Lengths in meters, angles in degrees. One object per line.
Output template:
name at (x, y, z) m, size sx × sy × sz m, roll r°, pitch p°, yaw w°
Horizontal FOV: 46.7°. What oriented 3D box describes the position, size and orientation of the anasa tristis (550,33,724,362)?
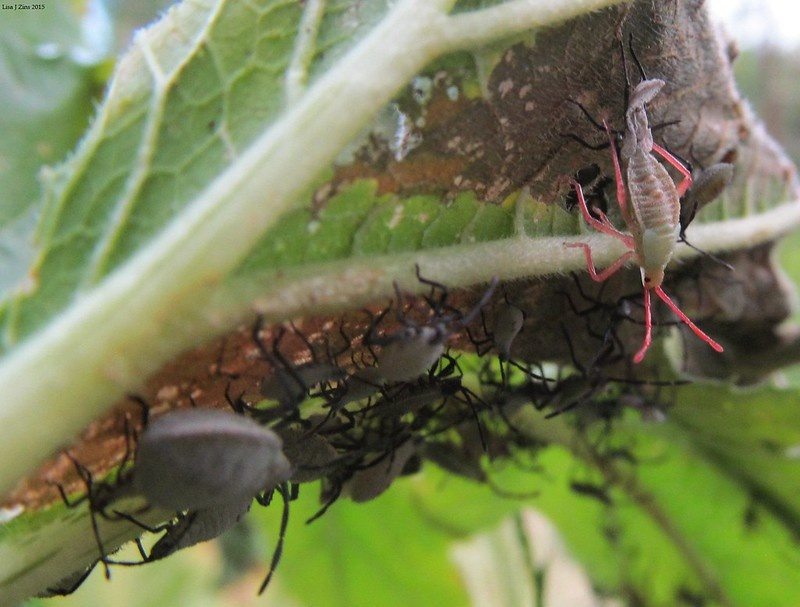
anasa tristis at (0.444, -0.205, 1.730) m, size 0.266 × 0.569 × 0.121 m, roll -12°, pitch 17°, yaw -25°
